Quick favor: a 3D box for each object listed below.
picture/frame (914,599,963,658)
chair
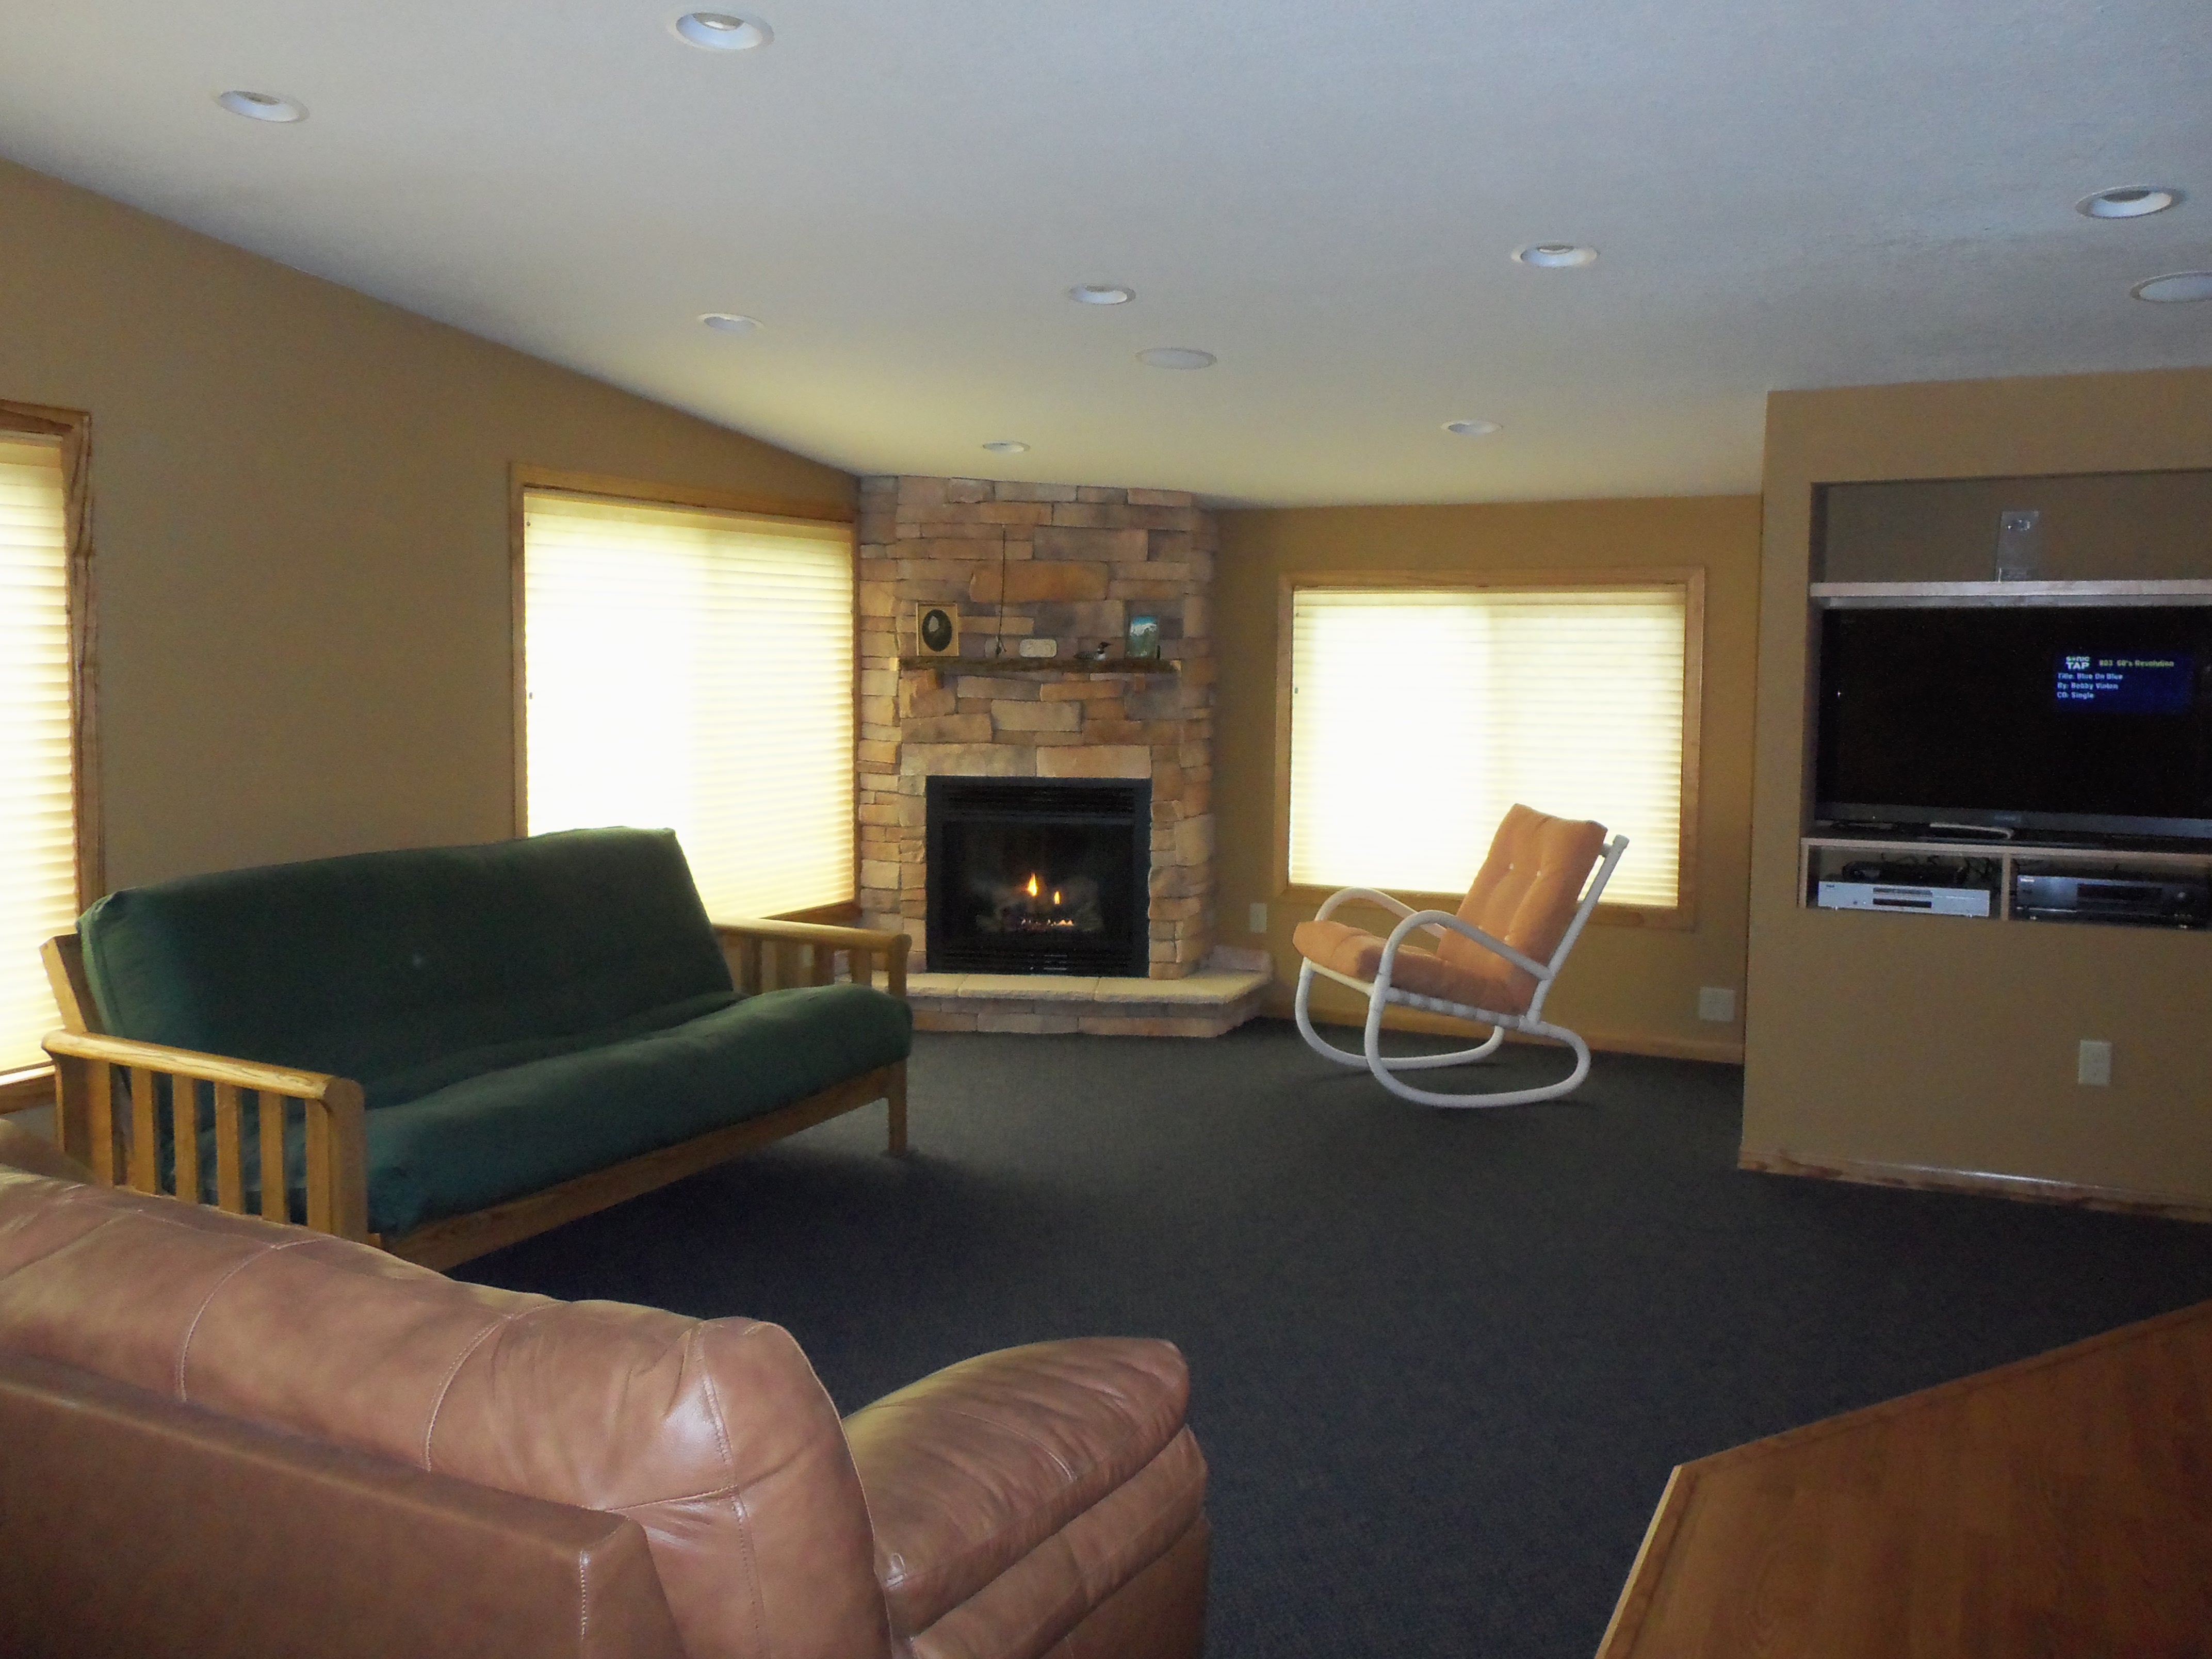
[{"bbox_3d":[-0.722,-0.852,6.963,0.265,0.345,0.036,0,-2,-3],"label":"picture/frame"},{"bbox_3d":[1.291,0.435,6.225,1.072,1.052,1.239,1,9,5],"label":"chair"}]
